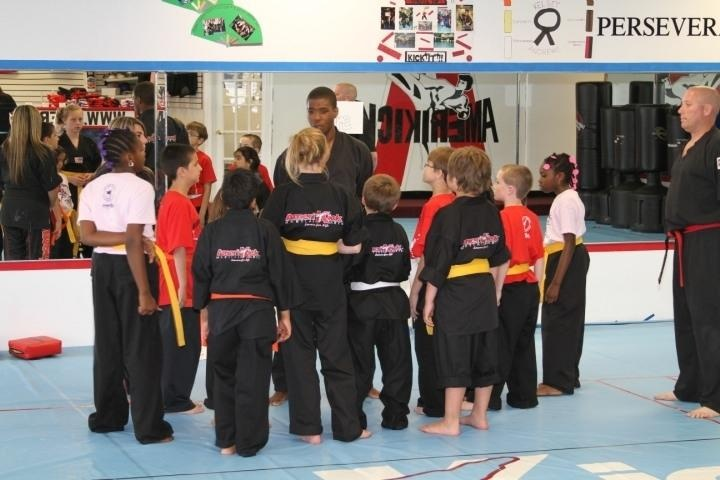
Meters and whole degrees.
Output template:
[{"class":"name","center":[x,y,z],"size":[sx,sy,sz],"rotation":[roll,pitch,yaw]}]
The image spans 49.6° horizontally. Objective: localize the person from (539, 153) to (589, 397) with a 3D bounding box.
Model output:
[{"class":"person","center":[1.714,0.292,6.638],"size":[0.450,2.001,0.624],"rotation":[3,14,11]}]

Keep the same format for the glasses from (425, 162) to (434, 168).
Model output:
[{"class":"glasses","center":[0.545,-0.600,6.185],"size":[0.054,0.052,0.140],"rotation":[-2,12,-9]}]
